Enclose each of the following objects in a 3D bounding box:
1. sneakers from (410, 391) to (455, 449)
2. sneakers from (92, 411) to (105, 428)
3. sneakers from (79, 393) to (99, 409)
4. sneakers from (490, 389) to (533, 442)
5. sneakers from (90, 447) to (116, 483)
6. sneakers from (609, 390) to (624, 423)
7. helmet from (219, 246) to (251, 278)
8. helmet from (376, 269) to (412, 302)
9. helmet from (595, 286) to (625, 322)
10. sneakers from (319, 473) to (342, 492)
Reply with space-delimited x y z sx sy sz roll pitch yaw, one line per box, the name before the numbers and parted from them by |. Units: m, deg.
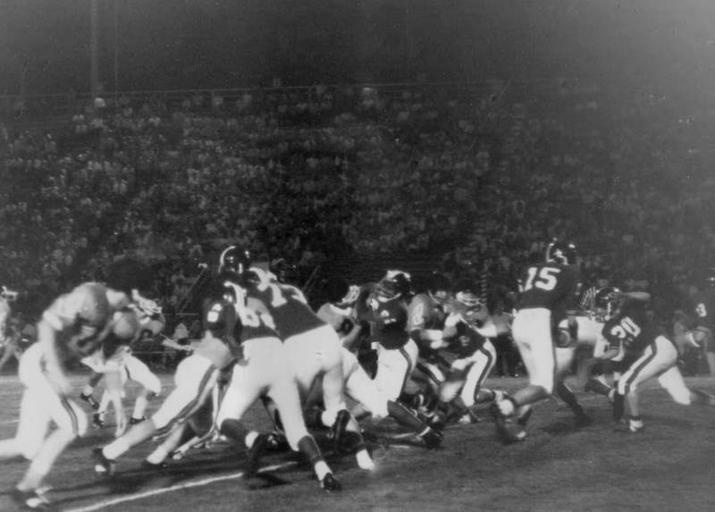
sneakers | 0.572 1.306 6.035 0.151 0.261 0.361 23 8 -30
sneakers | -2.004 1.268 5.746 0.054 0.062 0.146 10 7 -17
sneakers | -2.105 1.151 5.885 0.176 0.076 0.068 45 2 -19
sneakers | 1.220 1.260 5.864 0.263 0.357 0.167 25 -8 22
sneakers | -1.838 1.512 5.458 0.156 0.199 0.175 -10 19 -10
sneakers | 2.061 1.192 5.879 0.099 0.200 0.047 4 -8 0
helmet | -0.926 0.031 5.601 0.217 0.218 0.212 4 12 -21
helmet | 0.288 0.236 5.790 0.257 0.272 0.215 -2 -1 5
helmet | 1.971 0.367 5.849 0.197 0.249 0.251 9 -18 -27
sneakers | -0.188 1.602 5.282 0.150 0.150 0.104 -7 -5 -8
